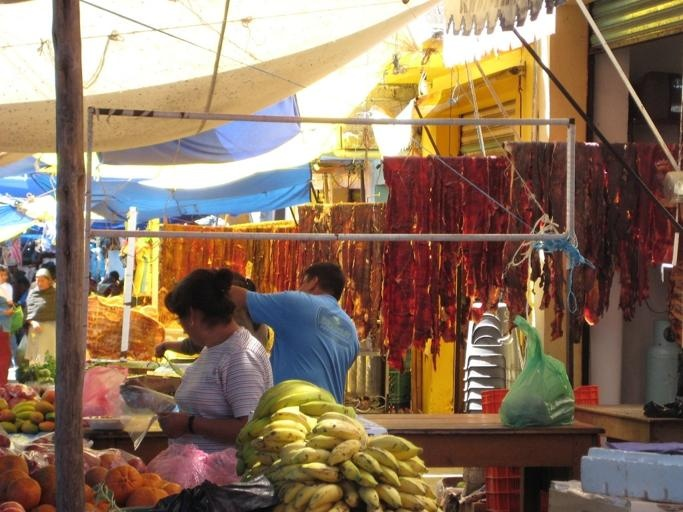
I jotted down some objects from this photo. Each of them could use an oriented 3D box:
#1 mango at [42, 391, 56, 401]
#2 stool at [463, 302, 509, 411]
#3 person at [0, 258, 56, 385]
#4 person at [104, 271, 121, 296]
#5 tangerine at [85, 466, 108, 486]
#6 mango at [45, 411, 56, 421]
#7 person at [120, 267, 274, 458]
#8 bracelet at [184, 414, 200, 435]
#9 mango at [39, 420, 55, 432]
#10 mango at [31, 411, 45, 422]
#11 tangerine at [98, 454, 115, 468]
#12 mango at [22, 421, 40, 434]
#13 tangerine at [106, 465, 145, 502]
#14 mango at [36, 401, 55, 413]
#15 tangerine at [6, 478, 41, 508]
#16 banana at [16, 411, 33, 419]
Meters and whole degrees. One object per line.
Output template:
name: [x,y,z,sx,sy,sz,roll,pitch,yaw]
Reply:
mango: [-2.107,1.010,7.776,0.084,0.091,0.220,1,-8,-20]
stool: [1.393,0.981,10.393,0.430,1.018,0.273,-2,-6,7]
person: [-3.469,0.638,12.405,0.363,1.228,1.727,1,-8,-16]
person: [-3.180,0.377,15.062,0.222,0.395,0.729,0,-8,-11]
tangerine: [-1.405,1.288,6.313,0.204,0.110,0.126,-9,-10,43]
mango: [-2.036,1.120,7.548,0.054,0.057,0.034,0,-6,-8]
person: [-0.871,0.821,7.054,0.647,1.482,0.897,0,13,-17]
bracelet: [-0.931,1.054,6.780,0.053,0.104,0.089,0,-5,5]
mango: [-2.015,1.176,7.476,0.079,0.078,0.169,5,-10,-42]
mango: [-2.106,1.123,7.519,0.066,0.076,0.071,-13,-39,5]
tangerine: [-1.426,1.252,6.561,0.079,0.076,0.066,-12,-11,-10]
mango: [-2.159,1.190,7.541,0.094,0.096,0.086,14,11,-9]
tangerine: [-1.244,1.316,6.274,0.165,0.204,0.179,-3,-13,31]
mango: [-2.081,1.061,7.596,0.116,0.076,0.082,0,-7,-14]
tangerine: [-1.782,1.329,6.070,0.141,0.177,0.161,-10,-19,-7]
banana: [-2.205,1.112,7.536,0.083,0.035,0.049,0,5,12]
